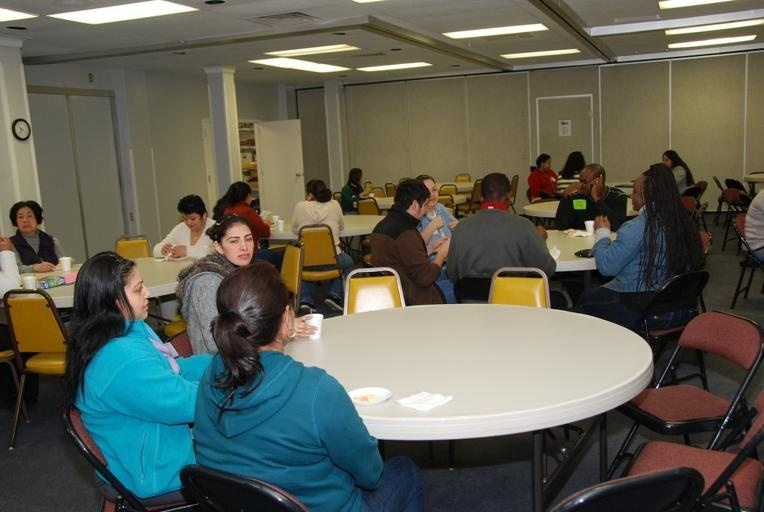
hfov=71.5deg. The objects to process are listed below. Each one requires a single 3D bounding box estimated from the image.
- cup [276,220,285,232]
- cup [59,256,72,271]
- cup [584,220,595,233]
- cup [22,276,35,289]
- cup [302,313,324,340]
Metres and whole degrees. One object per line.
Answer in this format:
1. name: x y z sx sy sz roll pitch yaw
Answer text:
1. cup: -1.284 -0.386 6.681 0.130 0.151 0.131 1 2 0
2. cup: -2.969 0.070 4.972 0.110 0.112 0.116 2 11 0
3. cup: 2.104 -0.318 5.473 0.140 0.162 0.141 1 7 0
4. cup: -2.849 0.199 4.290 0.102 0.102 0.127 -8 15 -42
5. cup: -0.367 0.389 2.984 0.125 0.135 0.126 1 7 0
